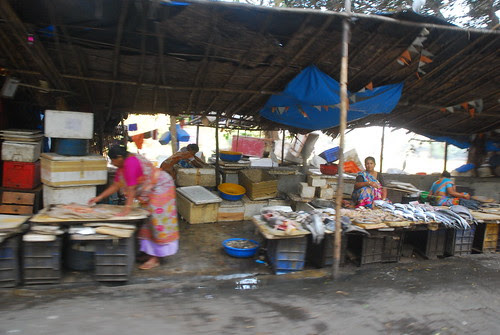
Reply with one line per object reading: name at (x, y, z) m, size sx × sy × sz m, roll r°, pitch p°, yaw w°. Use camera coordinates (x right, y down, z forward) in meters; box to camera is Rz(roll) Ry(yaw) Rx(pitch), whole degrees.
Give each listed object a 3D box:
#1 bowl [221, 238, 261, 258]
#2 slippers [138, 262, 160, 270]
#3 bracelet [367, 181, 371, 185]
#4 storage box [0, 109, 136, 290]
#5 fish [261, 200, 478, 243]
bowl at (-0.199, 1.610, 8.264) m, size 0.709 × 0.367 × 0.712 m, roll 2°, pitch 0°, yaw 0°
slippers at (-1.816, 1.774, 7.442) m, size 0.314 × 0.047 × 0.135 m, roll 2°, pitch 0°, yaw -36°
bracelet at (2.590, 0.345, 8.997) m, size 0.085 × 0.072 × 0.032 m, roll 2°, pitch 0°, yaw 18°
storage box at (-2.931, 0.433, 7.383) m, size 1.882 × 2.978 × 1.415 m, roll 3°, pitch 0°, yaw -11°
fish at (2.225, 1.045, 8.051) m, size 4.136 × 0.749 × 1.042 m, roll 1°, pitch 0°, yaw -13°
